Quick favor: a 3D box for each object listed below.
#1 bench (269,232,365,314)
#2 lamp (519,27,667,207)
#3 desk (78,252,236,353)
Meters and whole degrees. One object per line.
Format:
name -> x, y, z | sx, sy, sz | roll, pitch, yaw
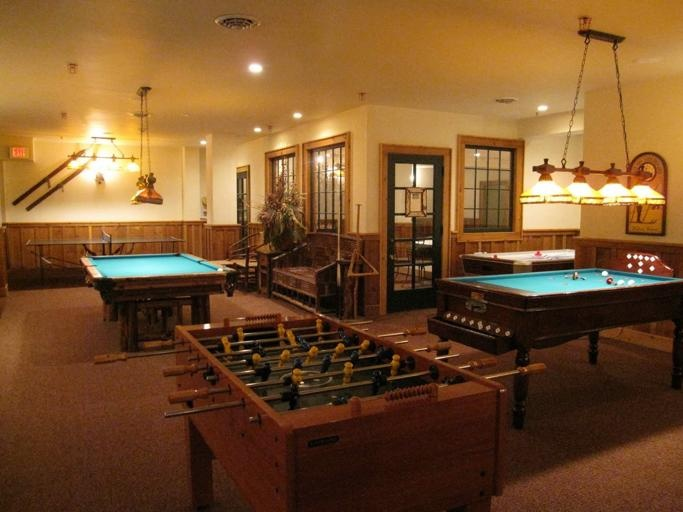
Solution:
bench -> -0.517, 0.233, 8.884 | 0.827, 1.232, 2.032 | -3, 7, -27
lamp -> 2.514, -1.349, 5.168 | 2.000, 1.624, 0.455 | -4, 8, -29
desk -> -2.489, 0.558, 6.910 | 1.555, 0.980, 2.122 | -4, 6, -28
